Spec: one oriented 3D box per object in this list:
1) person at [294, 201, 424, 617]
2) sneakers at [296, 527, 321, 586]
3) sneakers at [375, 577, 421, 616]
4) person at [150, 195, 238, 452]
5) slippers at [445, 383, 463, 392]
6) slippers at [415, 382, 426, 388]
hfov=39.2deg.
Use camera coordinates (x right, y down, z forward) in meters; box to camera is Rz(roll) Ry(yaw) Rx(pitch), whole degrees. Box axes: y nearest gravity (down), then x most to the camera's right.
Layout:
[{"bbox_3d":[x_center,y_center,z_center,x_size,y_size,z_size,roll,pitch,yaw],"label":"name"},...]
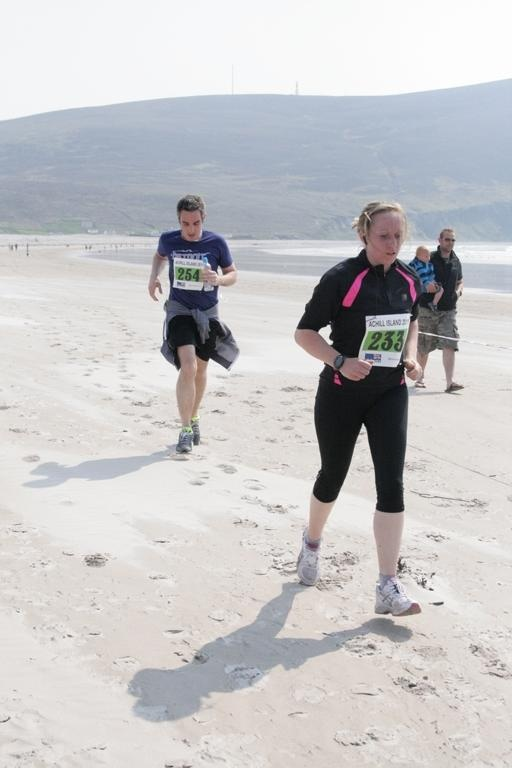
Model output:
[{"bbox_3d":[0.402,0.101,2.935,0.542,1.668,0.573,5,11,4],"label":"person"},{"bbox_3d":[0.215,0.768,3.206,0.081,0.239,0.112,0,-15,-2],"label":"sneakers"},{"bbox_3d":[0.587,0.836,2.815,0.097,0.124,0.235,1,-8,-32],"label":"sneakers"},{"bbox_3d":[-0.535,-0.376,5.459,0.737,1.593,1.041,5,11,2],"label":"person"},{"bbox_3d":[2.139,0.038,7.874,0.204,0.082,0.080,-8,12,-10],"label":"slippers"},{"bbox_3d":[1.699,0.013,7.533,0.075,0.075,0.202,0,-2,10],"label":"slippers"}]
